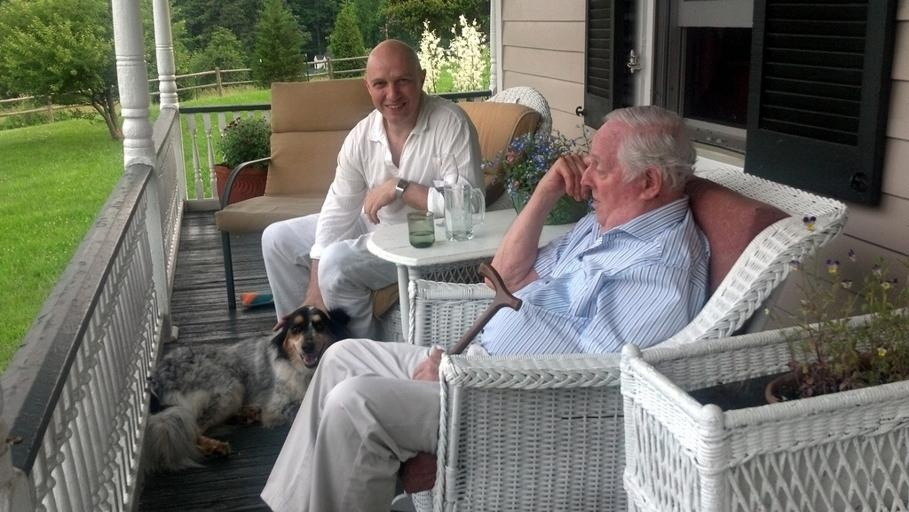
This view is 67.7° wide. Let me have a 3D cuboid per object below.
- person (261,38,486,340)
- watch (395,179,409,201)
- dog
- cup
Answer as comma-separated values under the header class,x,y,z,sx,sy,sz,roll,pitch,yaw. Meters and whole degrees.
class,x,y,z,sx,sy,sz,roll,pitch,yaw
person,-0.454,-0.443,4.117,0.924,2.085,1.061,7,11,39
watch,-0.297,-0.373,3.814,0.066,0.097,0.103,16,28,9
dog,-1.067,0.649,3.741,1.146,0.727,0.602,-8,20,-16
cup,-0.044,-0.174,3.395,0.244,0.426,0.386,2,1,-25
